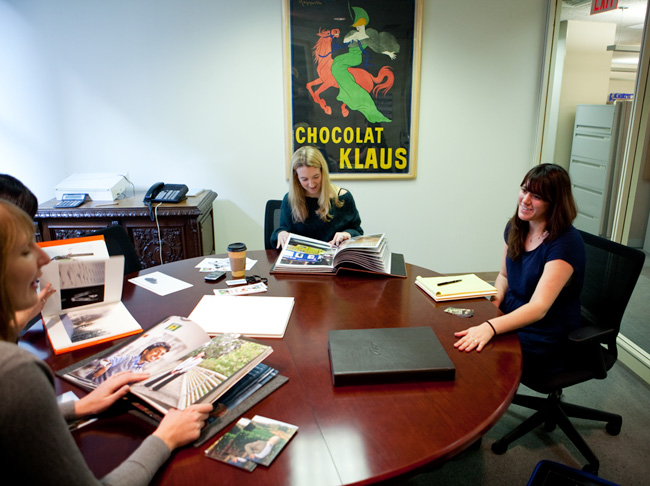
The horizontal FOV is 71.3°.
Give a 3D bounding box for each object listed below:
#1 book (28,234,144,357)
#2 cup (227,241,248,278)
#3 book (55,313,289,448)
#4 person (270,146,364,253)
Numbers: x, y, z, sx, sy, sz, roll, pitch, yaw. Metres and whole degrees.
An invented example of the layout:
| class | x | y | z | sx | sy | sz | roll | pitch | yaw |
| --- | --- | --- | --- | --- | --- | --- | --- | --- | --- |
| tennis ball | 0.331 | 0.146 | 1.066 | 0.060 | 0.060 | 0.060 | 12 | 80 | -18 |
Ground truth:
| class | x | y | z | sx | sy | sz | roll | pitch | yaw |
| --- | --- | --- | --- | --- | --- | --- | --- | --- | --- |
| book | -0.949 | 0.192 | 1.823 | 0.324 | 0.275 | 0.395 | -2 | 27 | -34 |
| cup | -0.432 | 0.088 | 2.251 | 0.095 | 0.154 | 0.098 | -2 | 13 | 0 |
| book | -0.476 | 0.406 | 1.539 | 0.486 | 0.121 | 0.335 | 22 | 32 | 33 |
| person | -0.051 | -0.152 | 2.957 | 0.592 | 0.877 | 0.457 | -6 | 17 | -6 |
